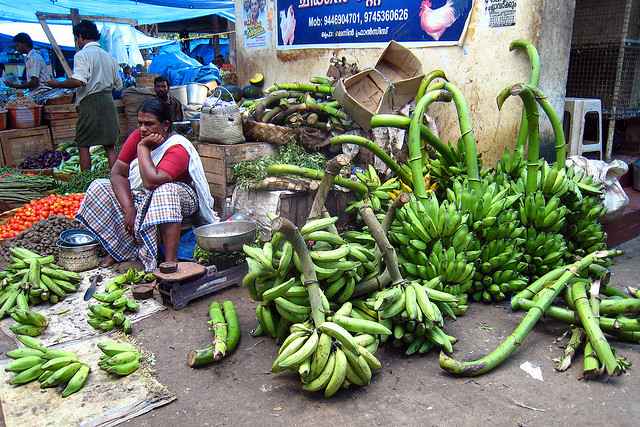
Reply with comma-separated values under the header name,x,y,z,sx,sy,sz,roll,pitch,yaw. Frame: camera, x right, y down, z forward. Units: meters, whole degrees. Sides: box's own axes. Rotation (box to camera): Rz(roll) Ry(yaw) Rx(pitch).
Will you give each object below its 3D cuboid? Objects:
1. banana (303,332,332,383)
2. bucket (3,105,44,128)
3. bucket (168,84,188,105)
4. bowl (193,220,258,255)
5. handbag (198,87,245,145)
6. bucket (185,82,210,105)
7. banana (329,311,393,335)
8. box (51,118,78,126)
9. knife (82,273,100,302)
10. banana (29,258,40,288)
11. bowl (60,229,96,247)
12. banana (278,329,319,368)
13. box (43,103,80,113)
name,x,y,z,sx,sy,sz,roll,pitch,yaw
banana,0.001,1.097,3.380,0.159,0.495,0.116,16,-7,17
bucket,-5.764,-1.875,8.420,0.499,0.321,0.501,-1,15,0
bucket,-2.384,-2.027,7.439,0.304,0.324,0.307,-3,29,1
bowl,-0.960,0.345,4.636,0.482,0.188,0.493,-14,-8,-2
handbag,-1.373,-1.303,5.854,0.688,0.757,0.330,7,18,28
bucket,-2.078,-1.939,7.378,0.489,0.380,0.491,3,10,-1
banana,0.328,0.905,3.552,0.559,0.193,0.120,13,-9,-4
box,-5.310,-1.888,8.930,0.068,0.134,0.507,12,24,38
knife,-2.439,0.732,4.625,0.087,0.075,0.518,15,27,-16
banana,-2.964,0.620,4.468,0.106,0.094,0.355,13,44,-33
bowl,-2.894,0.284,5.146,0.260,0.103,0.262,17,25,-8
banana,-0.142,1.044,3.283,0.368,0.164,0.112,-18,24,-36
box,-5.362,-2.140,8.857,0.624,0.181,0.236,-14,21,-27
